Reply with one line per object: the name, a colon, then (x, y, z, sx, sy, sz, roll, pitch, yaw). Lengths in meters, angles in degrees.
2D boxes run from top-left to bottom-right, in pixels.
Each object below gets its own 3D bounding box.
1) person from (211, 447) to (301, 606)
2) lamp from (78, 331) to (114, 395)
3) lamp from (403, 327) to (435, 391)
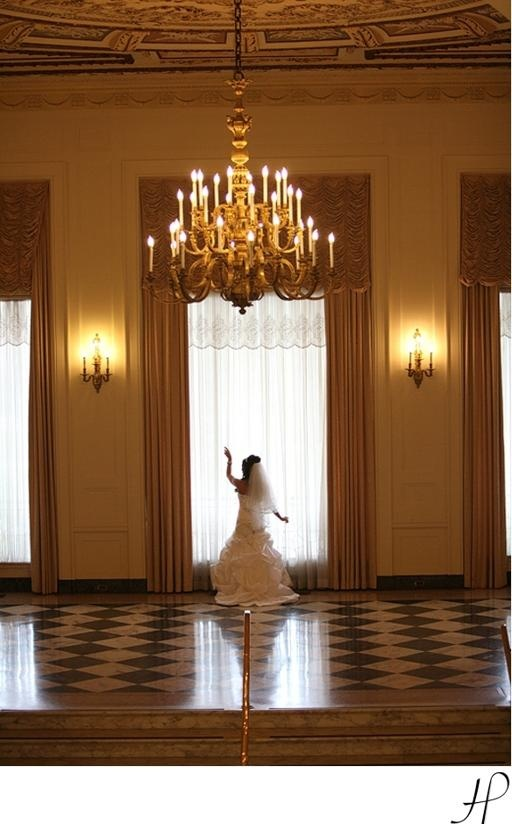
person: (-0.027, 1.068, 7.766, 0.780, 1.464, 0.615, -1, -1, -4)
lamp: (-1.636, -0.508, 8.276, 0.322, 0.600, 0.142, -1, -2, -7)
lamp: (1.664, -0.551, 8.233, 0.279, 0.588, 0.117, -1, -2, 9)
